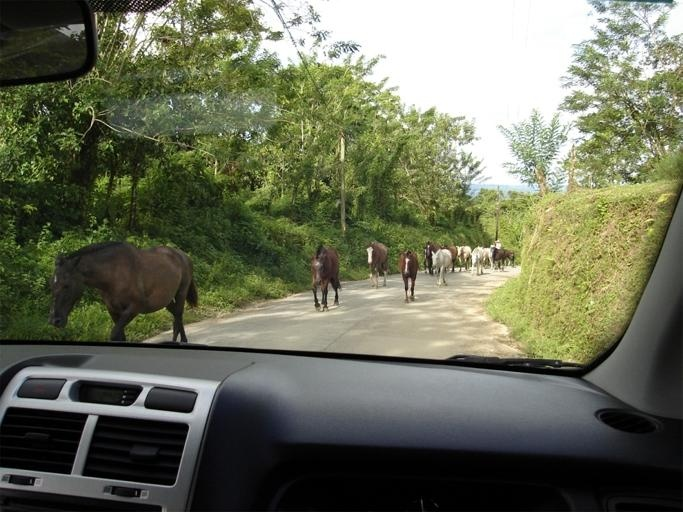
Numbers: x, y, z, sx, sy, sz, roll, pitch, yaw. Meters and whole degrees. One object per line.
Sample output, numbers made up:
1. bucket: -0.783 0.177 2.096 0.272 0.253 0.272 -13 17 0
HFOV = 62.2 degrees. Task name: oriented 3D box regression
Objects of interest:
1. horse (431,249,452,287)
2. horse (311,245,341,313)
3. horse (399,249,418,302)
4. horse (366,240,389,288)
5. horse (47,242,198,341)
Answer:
1. horse: 2.997 0.345 17.143 0.453 1.045 1.656 2 2 22
2. horse: -0.389 0.448 13.736 0.560 1.662 2.492 2 8 9
3. horse: 1.766 0.455 14.729 0.429 1.473 2.005 -1 6 10
4. horse: 1.024 0.222 16.520 0.484 1.422 1.989 0 4 16
5. horse: -2.450 0.478 6.603 0.766 1.256 2.196 1 1 16
